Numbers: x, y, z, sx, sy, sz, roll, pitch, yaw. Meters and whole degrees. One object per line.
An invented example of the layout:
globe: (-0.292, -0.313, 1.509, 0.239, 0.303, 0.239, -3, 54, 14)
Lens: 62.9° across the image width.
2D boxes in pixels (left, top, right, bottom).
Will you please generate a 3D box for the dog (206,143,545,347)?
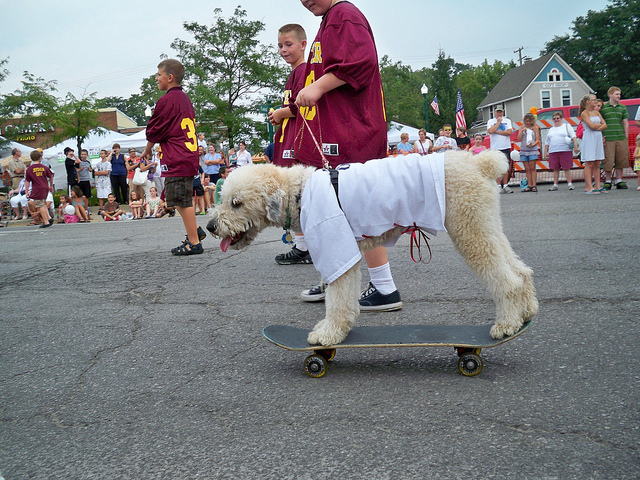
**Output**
dog: (0.334, 0.044, 3.423, 2.205, 1.118, 0.614, -4, 4, 15)

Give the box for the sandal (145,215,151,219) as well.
sandal: (-5.055, -0.685, 15.386, 0.115, 0.116, 0.293, 1, -4, -16)

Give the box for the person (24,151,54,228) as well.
person: (-8.331, -1.504, 15.589, 0.787, 2.229, 0.827, 5, 12, 24)

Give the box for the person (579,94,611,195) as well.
person: (5.865, -2.016, 11.130, 0.571, 2.136, 1.495, 3, 15, 28)

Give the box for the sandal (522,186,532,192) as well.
sandal: (5.580, -1.357, 13.996, 0.232, 0.117, 0.388, 2, 13, 23)

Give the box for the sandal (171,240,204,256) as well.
sandal: (-1.810, 0.112, 7.130, 0.486, 0.219, 0.167, 2, 6, -5)

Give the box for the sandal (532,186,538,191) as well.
sandal: (5.858, -1.395, 14.175, 0.178, 0.143, 0.526, -2, 3, 24)

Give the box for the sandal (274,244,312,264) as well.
sandal: (-0.297, 0.184, 6.201, 0.505, 0.280, 0.188, 2, 0, 7)
